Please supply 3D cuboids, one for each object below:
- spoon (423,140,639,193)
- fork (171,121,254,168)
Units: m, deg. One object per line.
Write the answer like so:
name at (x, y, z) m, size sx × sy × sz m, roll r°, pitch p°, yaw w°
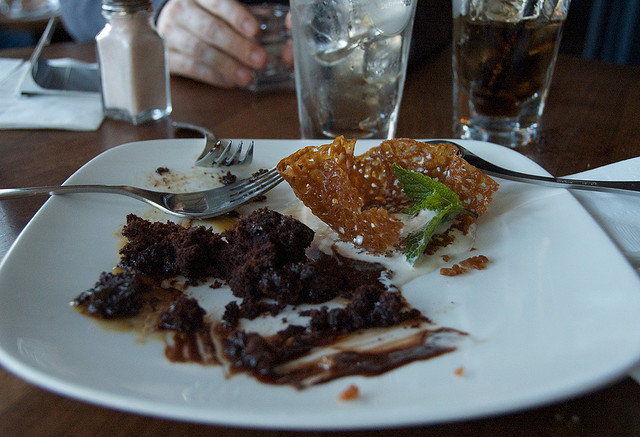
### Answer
spoon at (0.418, -0.101, 1.135) m, size 0.471 × 0.102 × 0.068 m, roll -2°, pitch 58°, yaw 16°
fork at (-0.198, -0.141, 1.173) m, size 0.120 × 0.039 × 0.066 m, roll 1°, pitch 51°, yaw 4°
